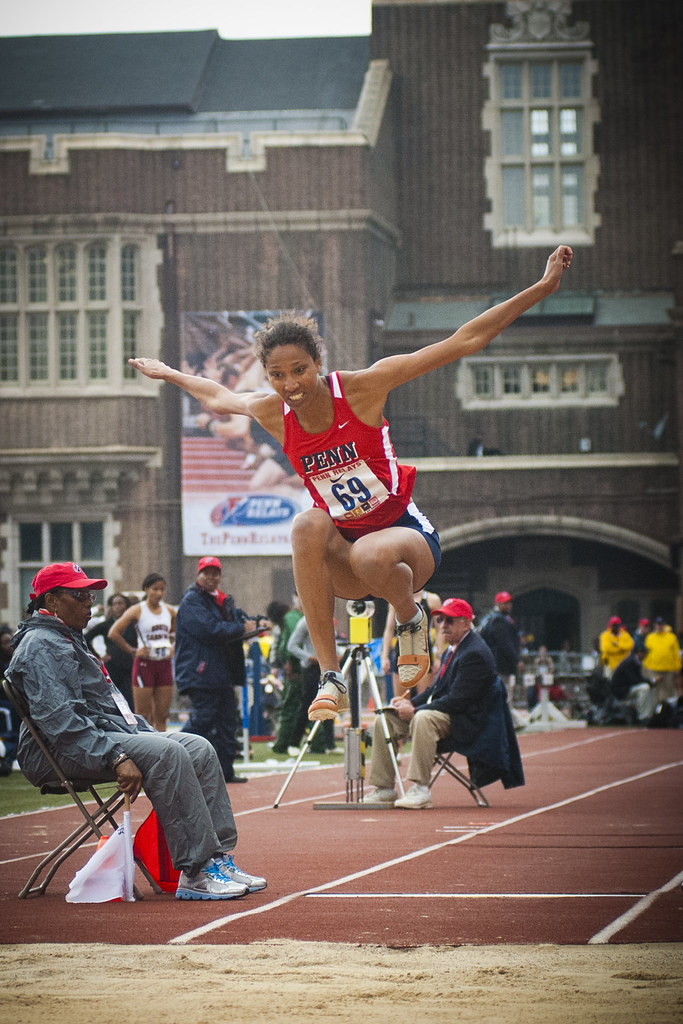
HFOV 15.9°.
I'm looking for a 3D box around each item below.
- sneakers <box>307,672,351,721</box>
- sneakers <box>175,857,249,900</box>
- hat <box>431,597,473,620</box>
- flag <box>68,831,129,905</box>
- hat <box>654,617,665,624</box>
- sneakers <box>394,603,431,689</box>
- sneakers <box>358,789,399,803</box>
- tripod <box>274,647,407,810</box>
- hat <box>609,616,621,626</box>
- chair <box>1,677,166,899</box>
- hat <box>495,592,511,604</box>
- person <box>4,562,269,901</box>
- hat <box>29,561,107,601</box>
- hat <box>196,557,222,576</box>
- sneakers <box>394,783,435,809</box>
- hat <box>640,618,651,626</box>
[{"bbox_3d":[-0.061,0.883,11.305,0.110,0.181,0.361,-1,-13,6],"label":"sneakers"},{"bbox_3d":[-0.572,1.628,10.726,0.346,0.232,0.134,0,-4,7],"label":"sneakers"},{"bbox_3d":[0.673,0.595,14.457,0.177,0.104,0.132,14,-10,-13],"label":"hat"},{"bbox_3d":[-1.065,1.570,10.752,0.297,0.320,0.179,-1,-4,-12],"label":"flag"},{"bbox_3d":[1.990,0.694,15.260,0.040,0.052,0.040,8,15,-43],"label":"hat"},{"bbox_3d":[0.320,0.636,11.713,0.137,0.460,0.171,-3,-46,4],"label":"sneakers"},{"bbox_3d":[0.217,1.681,14.310,0.228,0.113,0.083,1,-2,-2],"label":"sneakers"},{"bbox_3d":[-0.026,1.406,15.510,0.822,1.244,0.672,14,-19,-42],"label":"tripod"},{"bbox_3d":[1.768,0.718,15.784,0.058,0.080,0.067,2,-3,11],"label":"hat"},{"bbox_3d":[-1.114,1.306,11.435,0.863,1.468,0.797,-1,-2,2],"label":"chair"},{"bbox_3d":[1.275,0.687,19.210,0.097,0.061,0.145,3,-1,8],"label":"hat"},{"bbox_3d":[-0.973,0.987,11.037,1.064,1.532,0.653,-2,-3,2],"label":"person"},{"bbox_3d":[-1.253,0.324,11.197,0.270,0.164,0.188,-4,-6,1],"label":"hat"},{"bbox_3d":[-0.879,0.351,15.698,0.140,0.116,0.244,1,-11,-5],"label":"hat"},{"bbox_3d":[0.423,1.654,14.060,0.093,0.136,0.250,-6,-13,23],"label":"sneakers"},{"bbox_3d":[1.921,0.705,15.412,0.036,0.049,0.054,-1,-10,-3],"label":"hat"}]
